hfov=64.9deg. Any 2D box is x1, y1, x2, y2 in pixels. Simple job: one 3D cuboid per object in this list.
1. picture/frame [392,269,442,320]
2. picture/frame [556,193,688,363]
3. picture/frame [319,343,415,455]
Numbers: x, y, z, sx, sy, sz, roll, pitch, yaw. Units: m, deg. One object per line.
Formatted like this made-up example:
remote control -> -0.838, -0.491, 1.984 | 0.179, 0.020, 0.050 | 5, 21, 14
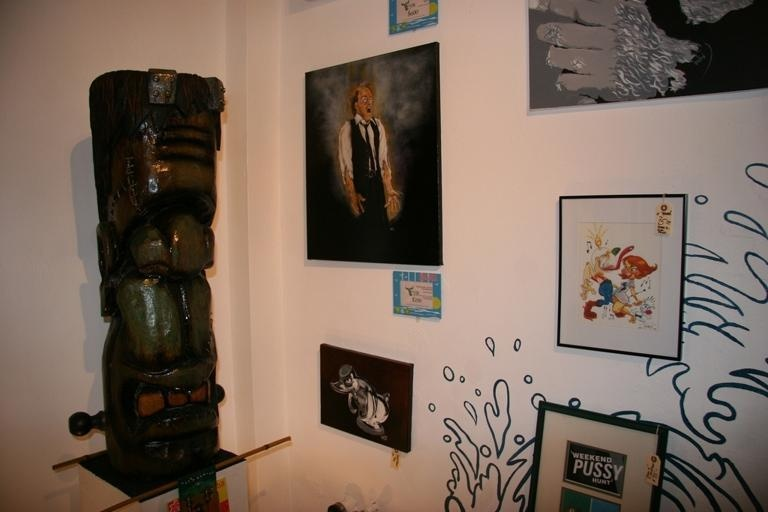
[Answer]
picture/frame -> 0.154, 0.167, 2.710 | 0.208, 0.196, 0.016 | 4, 7, 29
picture/frame -> 0.953, 0.074, 2.362 | 0.591, 0.873, 0.037 | 3, 3, 24
picture/frame -> -0.069, 0.651, 2.813 | 0.485, 0.434, 0.052 | 7, 9, 33
